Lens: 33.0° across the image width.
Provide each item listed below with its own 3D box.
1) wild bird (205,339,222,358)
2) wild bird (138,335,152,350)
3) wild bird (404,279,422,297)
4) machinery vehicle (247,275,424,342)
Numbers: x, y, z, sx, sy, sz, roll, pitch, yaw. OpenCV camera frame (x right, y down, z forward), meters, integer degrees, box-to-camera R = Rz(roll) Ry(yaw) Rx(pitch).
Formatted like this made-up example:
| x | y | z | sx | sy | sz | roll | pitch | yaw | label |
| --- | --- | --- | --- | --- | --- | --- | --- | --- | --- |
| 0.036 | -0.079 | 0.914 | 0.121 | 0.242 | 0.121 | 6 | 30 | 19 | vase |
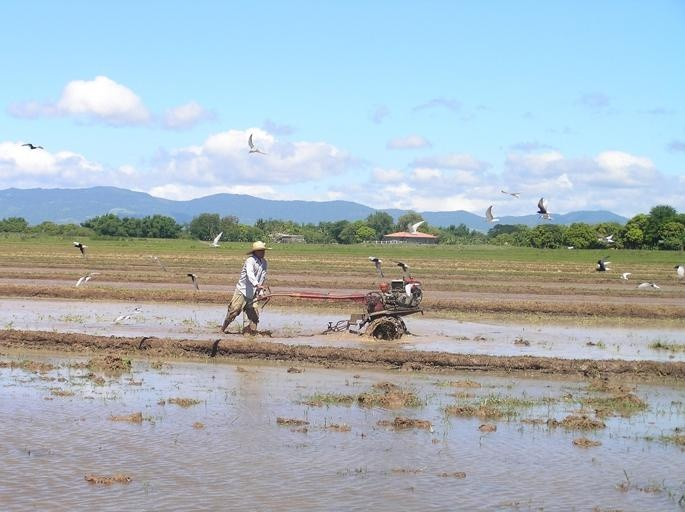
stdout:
| x | y | z | sx | sy | sz | roll | pitch | yaw | label |
| --- | --- | --- | --- | --- | --- | --- | --- | --- | --- |
| -3.656 | 2.577 | 33.226 | 0.316 | 0.494 | 0.484 | 1 | 0 | 25 | wild bird |
| -5.750 | 2.454 | 33.606 | 0.421 | 0.351 | 0.340 | 1 | 0 | -10 | wild bird |
| 2.242 | 0.926 | 36.049 | 0.452 | 0.523 | 0.727 | 1 | 0 | 17 | wild bird |
| 0.375 | 1.508 | 38.145 | 4.612 | 2.142 | 4.723 | -1 | 2 | 10 | machinery vehicle |
